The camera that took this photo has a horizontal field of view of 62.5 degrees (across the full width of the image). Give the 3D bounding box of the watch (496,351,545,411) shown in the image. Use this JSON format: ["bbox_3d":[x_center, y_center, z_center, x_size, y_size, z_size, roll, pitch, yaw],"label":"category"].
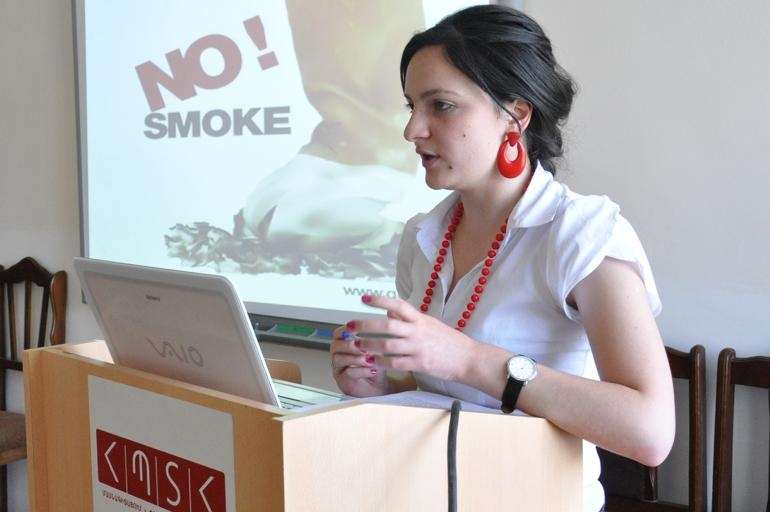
[{"bbox_3d":[0.280,0.265,1.337,0.072,0.119,0.108,28,45,18],"label":"watch"}]

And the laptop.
[{"bbox_3d":[-0.446,0.143,1.305,0.535,0.260,0.056,3,9,31],"label":"laptop"}]

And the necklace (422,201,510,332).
[{"bbox_3d":[0.217,0.033,1.609,0.169,0.323,0.042,17,-9,43],"label":"necklace"}]

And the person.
[{"bbox_3d":[0.388,0.017,2.624,1.039,2.560,1.422,6,-12,-9],"label":"person"}]
